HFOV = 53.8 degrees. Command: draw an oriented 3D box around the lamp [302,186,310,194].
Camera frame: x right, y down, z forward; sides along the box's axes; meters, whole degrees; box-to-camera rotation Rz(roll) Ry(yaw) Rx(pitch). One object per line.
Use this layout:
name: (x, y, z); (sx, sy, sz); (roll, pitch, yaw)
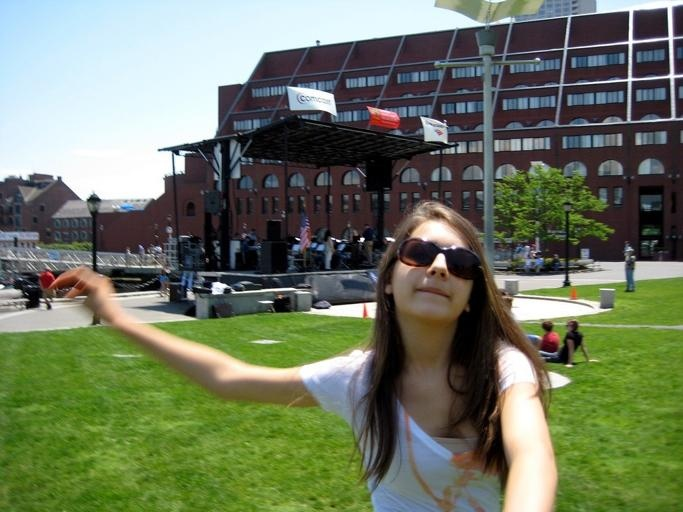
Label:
lamp: (-3.553, -6.990, 71.508); (0.827, 0.669, 1.311); (6, -16, 2)

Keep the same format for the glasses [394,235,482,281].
glasses: (0.555, 0.016, 3.775); (0.461, 0.208, 0.098); (3, 11, 5)

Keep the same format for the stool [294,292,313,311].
stool: (-1.183, 1.465, 22.054); (0.606, 0.704, 0.766); (0, 1, 5)

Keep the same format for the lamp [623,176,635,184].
lamp: (25.806, -6.797, 60.306); (1.118, 0.810, 0.590); (3, 9, 8)

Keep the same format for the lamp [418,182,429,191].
lamp: (8.127, -6.888, 66.347); (0.947, 1.138, 0.875); (1, 3, 42)

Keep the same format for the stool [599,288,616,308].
stool: (8.503, 1.376, 21.545); (0.645, 0.574, 0.602); (1, -3, 10)

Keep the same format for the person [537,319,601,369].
person: (4.026, 1.609, 12.703); (1.270, 0.769, 0.876); (-6, -9, 44)

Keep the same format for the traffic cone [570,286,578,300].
traffic cone: (8.996, 1.443, 25.913); (0.412, 0.452, 0.395); (-3, 4, 8)

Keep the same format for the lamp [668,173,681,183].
lamp: (28.860, -6.659, 58.171); (0.808, 0.873, 0.339); (7, 12, 22)

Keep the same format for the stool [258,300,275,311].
stool: (-2.354, 1.599, 21.383); (0.369, 0.151, 0.502); (-1, 3, -26)

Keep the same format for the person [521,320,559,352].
person: (3.941, 1.557, 13.123); (0.450, 0.636, 0.880); (-9, 10, -20)
